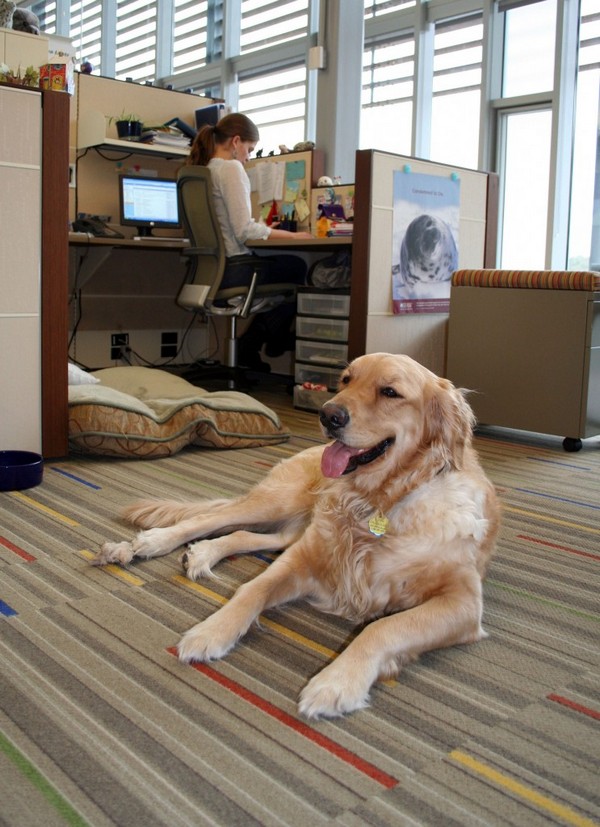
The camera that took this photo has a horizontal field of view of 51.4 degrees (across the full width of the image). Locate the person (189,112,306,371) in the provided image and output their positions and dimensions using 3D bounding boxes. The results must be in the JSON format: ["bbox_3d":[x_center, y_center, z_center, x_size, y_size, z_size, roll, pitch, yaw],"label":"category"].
[{"bbox_3d":[-0.329,-1.128,4.112,0.769,1.446,1.030,4,4,0],"label":"person"}]

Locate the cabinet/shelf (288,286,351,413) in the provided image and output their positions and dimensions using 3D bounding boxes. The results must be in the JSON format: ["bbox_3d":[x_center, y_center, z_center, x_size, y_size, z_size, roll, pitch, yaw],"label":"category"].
[{"bbox_3d":[0.118,-0.377,3.623,0.298,0.674,0.318,-5,14,-41],"label":"cabinet/shelf"}]

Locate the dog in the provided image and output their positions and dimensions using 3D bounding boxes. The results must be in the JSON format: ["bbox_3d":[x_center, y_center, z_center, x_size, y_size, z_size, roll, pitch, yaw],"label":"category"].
[{"bbox_3d":[0.004,0.138,1.302,0.672,0.536,0.737,-1,6,-43],"label":"dog"}]

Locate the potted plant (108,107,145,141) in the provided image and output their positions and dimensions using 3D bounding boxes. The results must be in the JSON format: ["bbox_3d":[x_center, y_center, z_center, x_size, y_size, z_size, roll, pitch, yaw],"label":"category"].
[{"bbox_3d":[-1.254,-2.061,4.533,0.241,0.182,0.237,3,9,12],"label":"potted plant"}]

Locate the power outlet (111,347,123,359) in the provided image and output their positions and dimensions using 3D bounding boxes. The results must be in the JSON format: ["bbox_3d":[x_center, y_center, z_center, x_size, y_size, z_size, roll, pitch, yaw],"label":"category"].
[{"bbox_3d":[-1.411,-0.465,4.836,0.091,0.080,0.021,-4,6,-35],"label":"power outlet"}]

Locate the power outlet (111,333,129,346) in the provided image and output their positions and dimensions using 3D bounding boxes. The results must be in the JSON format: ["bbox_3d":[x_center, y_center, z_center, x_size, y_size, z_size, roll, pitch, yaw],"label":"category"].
[{"bbox_3d":[-1.403,-0.580,4.873,0.021,0.100,0.146,7,6,43],"label":"power outlet"}]

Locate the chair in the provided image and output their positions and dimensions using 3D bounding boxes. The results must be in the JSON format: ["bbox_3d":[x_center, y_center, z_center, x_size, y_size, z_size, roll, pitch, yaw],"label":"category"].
[{"bbox_3d":[-0.381,-0.866,4.068,0.785,1.299,0.757,-4,14,-27],"label":"chair"}]

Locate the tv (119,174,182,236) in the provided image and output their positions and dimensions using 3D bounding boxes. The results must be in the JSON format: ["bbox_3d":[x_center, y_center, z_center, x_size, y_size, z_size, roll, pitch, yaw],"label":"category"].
[{"bbox_3d":[-1.126,-1.538,4.635,0.144,0.429,0.472,14,14,36],"label":"tv"}]
